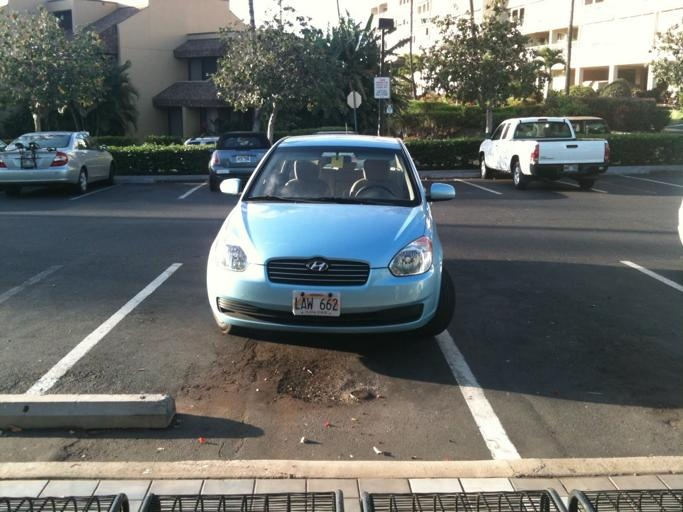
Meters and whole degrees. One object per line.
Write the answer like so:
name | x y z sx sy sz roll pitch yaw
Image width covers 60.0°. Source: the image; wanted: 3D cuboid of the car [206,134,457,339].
car | -0.019 -0.374 6.390 1.611 1.404 2.780 0 4 6

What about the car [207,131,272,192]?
car | -3.153 -2.738 18.897 1.830 1.880 3.573 -2 -1 -7

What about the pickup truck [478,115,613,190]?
pickup truck | 6.325 -3.236 18.663 2.350 2.202 3.634 -5 21 -13

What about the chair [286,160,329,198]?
chair | -0.374 -0.817 6.512 0.450 0.488 0.427 2 30 -3

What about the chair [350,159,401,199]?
chair | 0.381 -0.795 6.563 0.454 0.515 0.427 1 -3 4
